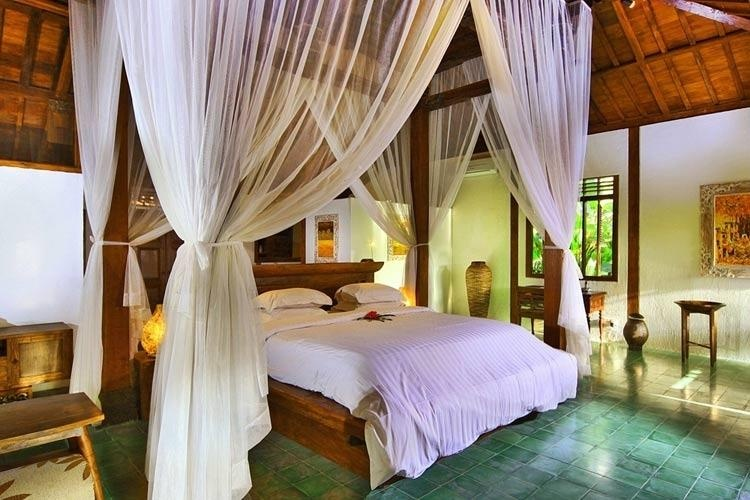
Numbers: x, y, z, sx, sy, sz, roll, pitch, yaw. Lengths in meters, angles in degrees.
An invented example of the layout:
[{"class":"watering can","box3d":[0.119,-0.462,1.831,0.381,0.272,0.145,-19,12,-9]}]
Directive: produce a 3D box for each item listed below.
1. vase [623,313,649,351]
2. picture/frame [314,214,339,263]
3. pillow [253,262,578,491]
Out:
[{"class":"vase","box3d":[3.523,1.112,6.340,0.311,0.509,0.261,-10,16,-36]},{"class":"picture/frame","box3d":[-0.780,-0.209,7.636,0.457,0.778,0.149,6,15,28]},{"class":"pillow","box3d":[0.254,1.052,4.691,2.696,0.837,2.309,-9,15,-35]}]
